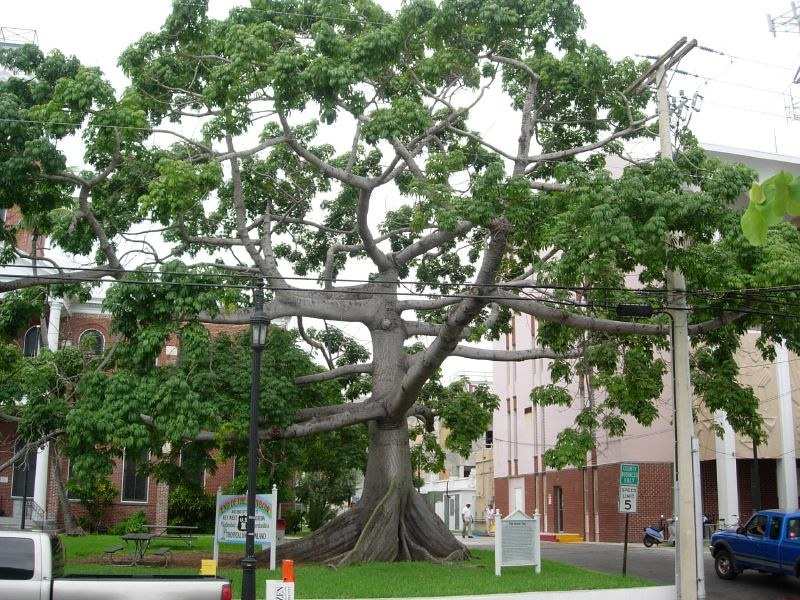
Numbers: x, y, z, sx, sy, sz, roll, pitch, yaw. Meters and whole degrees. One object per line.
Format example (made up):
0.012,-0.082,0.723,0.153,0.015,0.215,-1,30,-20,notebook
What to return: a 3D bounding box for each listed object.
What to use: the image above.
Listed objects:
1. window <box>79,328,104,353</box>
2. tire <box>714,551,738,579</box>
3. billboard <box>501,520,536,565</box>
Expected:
-13.897,1.770,38.680,0.837,1.121,0.970,-17,-17,39,window
10.806,8.756,28.491,0.341,1.065,1.002,4,-1,-13,tire
3.614,7.493,26.596,1.331,1.546,0.176,5,-14,-24,billboard
